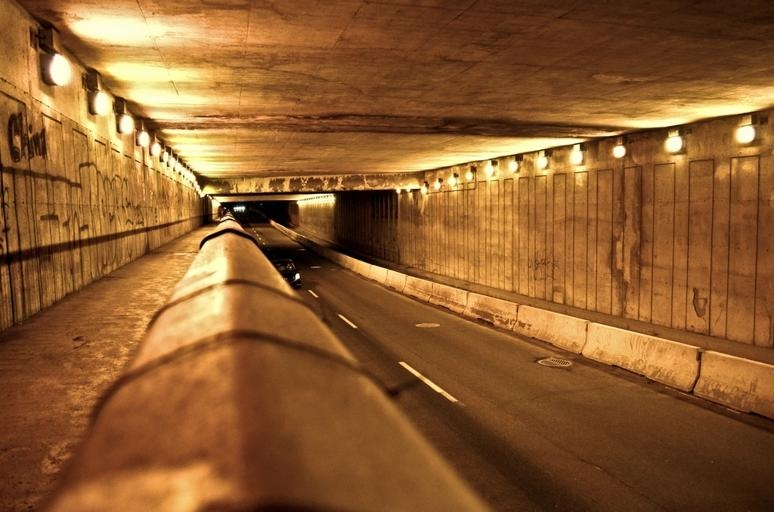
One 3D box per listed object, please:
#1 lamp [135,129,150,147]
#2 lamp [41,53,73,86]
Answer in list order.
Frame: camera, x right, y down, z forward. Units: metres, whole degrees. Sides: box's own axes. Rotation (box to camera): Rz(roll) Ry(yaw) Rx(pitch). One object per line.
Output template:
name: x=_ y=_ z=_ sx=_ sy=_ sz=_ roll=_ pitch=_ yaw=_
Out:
lamp: x=-7.556 y=-3.656 z=15.813 sx=0.307 sy=0.486 sz=0.698 roll=-4 pitch=10 yaw=-22
lamp: x=-5.820 y=-3.284 z=9.022 sx=0.456 sy=0.530 sz=0.300 roll=-8 pitch=13 yaw=-40
